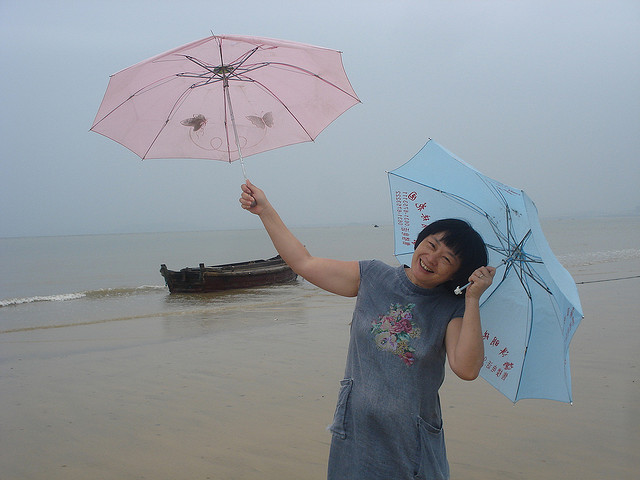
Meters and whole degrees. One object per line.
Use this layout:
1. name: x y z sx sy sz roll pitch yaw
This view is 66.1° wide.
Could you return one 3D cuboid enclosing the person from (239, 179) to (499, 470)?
1. person: 0.449 0.714 3.350 1.385 1.681 0.561 -2 3 24
